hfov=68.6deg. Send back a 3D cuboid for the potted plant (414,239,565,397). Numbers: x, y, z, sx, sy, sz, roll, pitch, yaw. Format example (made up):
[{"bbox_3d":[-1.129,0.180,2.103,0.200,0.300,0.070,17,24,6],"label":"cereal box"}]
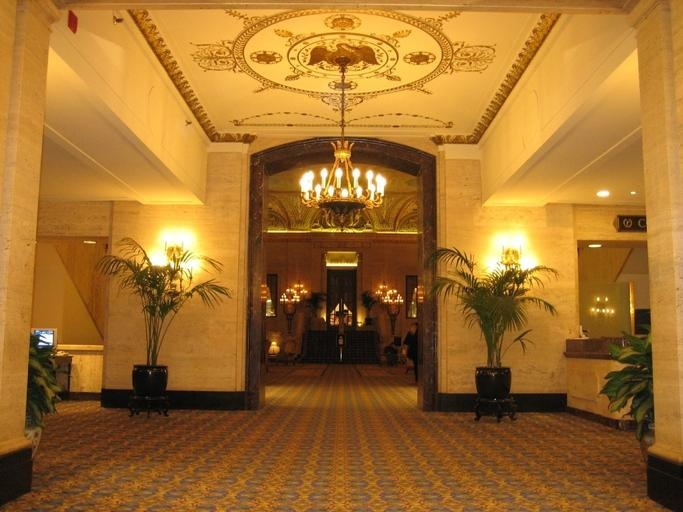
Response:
[{"bbox_3d":[2.691,1.005,9.092,2.362,1.954,2.245,2,-11,0],"label":"potted plant"}]

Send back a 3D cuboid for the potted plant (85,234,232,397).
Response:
[{"bbox_3d":[-3.133,1.178,9.730,2.584,3.077,2.877,-5,-10,20],"label":"potted plant"}]
